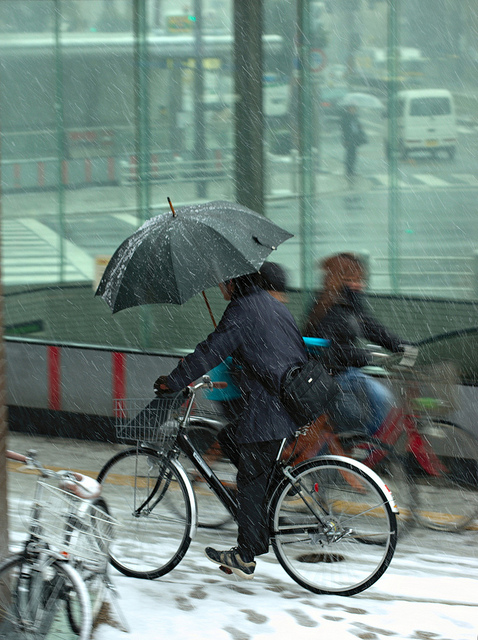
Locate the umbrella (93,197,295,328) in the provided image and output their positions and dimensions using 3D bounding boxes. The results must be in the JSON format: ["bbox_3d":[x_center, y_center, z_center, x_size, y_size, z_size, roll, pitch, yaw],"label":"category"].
[{"bbox_3d":[-0.192,-0.297,3.756,0.758,0.512,0.691,5,7,38],"label":"umbrella"}]

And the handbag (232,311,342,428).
[{"bbox_3d":[0.257,0.271,3.692,0.393,0.242,0.418,45,-23,-18],"label":"handbag"}]

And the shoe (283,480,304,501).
[{"bbox_3d":[0.250,0.784,3.686,0.038,0.076,0.106,38,-19,15],"label":"shoe"}]

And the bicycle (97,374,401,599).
[{"bbox_3d":[-0.012,0.788,3.855,1.610,0.899,0.421,0,1,23],"label":"bicycle"}]

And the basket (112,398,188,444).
[{"bbox_3d":[-0.428,0.418,3.820,0.333,0.195,0.337,5,3,35],"label":"basket"}]
